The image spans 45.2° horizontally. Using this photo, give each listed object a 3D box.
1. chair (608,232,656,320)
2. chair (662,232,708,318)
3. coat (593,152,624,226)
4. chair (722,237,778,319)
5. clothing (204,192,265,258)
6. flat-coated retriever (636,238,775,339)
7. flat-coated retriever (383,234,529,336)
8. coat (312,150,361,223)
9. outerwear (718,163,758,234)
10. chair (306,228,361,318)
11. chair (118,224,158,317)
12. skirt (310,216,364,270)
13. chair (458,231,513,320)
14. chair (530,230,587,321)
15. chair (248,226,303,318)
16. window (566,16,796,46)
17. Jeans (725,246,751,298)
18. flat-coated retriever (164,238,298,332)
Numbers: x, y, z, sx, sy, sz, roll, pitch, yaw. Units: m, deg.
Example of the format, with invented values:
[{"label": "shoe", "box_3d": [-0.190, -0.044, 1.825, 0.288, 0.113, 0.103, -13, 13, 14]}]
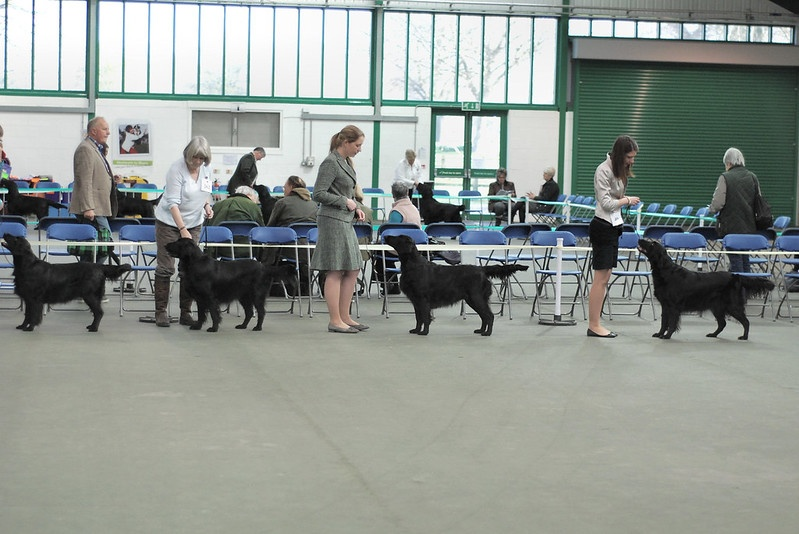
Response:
[{"label": "chair", "box_3d": [2.743, 0.074, 11.613, 0.721, 1.027, 0.882, 0, 2, 15]}, {"label": "chair", "box_3d": [3.797, -0.108, 12.432, 0.735, 1.040, 0.797, 1, 8, 11]}, {"label": "coat", "box_3d": [2.118, -0.782, 9.631, 0.291, 0.704, 0.292, 1, 6, 12]}, {"label": "chair", "box_3d": [4.145, 0.129, 11.486, 0.608, 0.997, 0.790, 3, 10, 20]}, {"label": "clothing", "box_3d": [-2.038, -0.644, 12.224, 0.725, 1.069, 0.845, 0, -5, -1]}, {"label": "flat-coated retriever", "box_3d": [3.150, 0.226, 9.981, 1.251, 1.022, 0.336, -1, 6, -8]}, {"label": "flat-coated retriever", "box_3d": [0.543, 0.207, 9.965, 1.581, 0.957, 0.342, 3, -1, -17]}, {"label": "coat", "box_3d": [-0.598, -0.837, 9.749, 0.430, 0.747, 0.614, 7, 6, 13]}, {"label": "outerwear", "box_3d": [4.296, -0.842, 12.080, 0.498, 0.882, 0.341, 0, 6, 7]}, {"label": "chair", "box_3d": [-0.758, 0.092, 11.275, 0.648, 1.070, 0.761, -1, 11, -14]}, {"label": "chair", "box_3d": [-3.054, 0.005, 11.405, 0.542, 0.874, 0.650, 2, 23, -36]}, {"label": "skirt", "box_3d": [-0.636, -0.181, 9.708, 0.640, 0.608, 0.493, 2, -5, -25]}, {"label": "chair", "box_3d": [1.053, 0.007, 11.514, 0.672, 0.947, 0.737, 3, 0, -24]}, {"label": "chair", "box_3d": [1.931, 0.077, 11.522, 0.715, 1.041, 0.871, 2, 2, 8]}, {"label": "chair", "box_3d": [-1.553, 0.087, 11.513, 0.811, 1.039, 0.846, -6, -3, 4]}, {"label": "window", "box_3d": [7.132, -5.958, 24.069, 5.793, 0.569, 0.252, -1, 6, -5]}, {"label": "Jeans", "box_3d": [4.279, -0.020, 11.947, 0.293, 0.415, 0.253, -3, 4, -27]}, {"label": "flat-coated retriever", "box_3d": [-1.706, 0.191, 9.944, 1.523, 0.881, 0.318, 1, 1, -33]}]
